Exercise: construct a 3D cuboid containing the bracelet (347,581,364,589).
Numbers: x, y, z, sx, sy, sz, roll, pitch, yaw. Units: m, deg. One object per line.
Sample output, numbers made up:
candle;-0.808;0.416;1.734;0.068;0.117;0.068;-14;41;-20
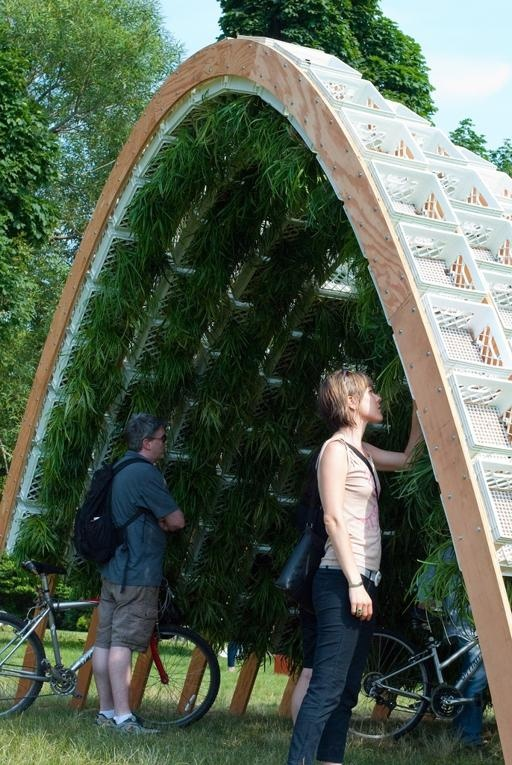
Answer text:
bracelet;0.308;0.631;2.448;0.039;0.027;0.044;12;-12;14
